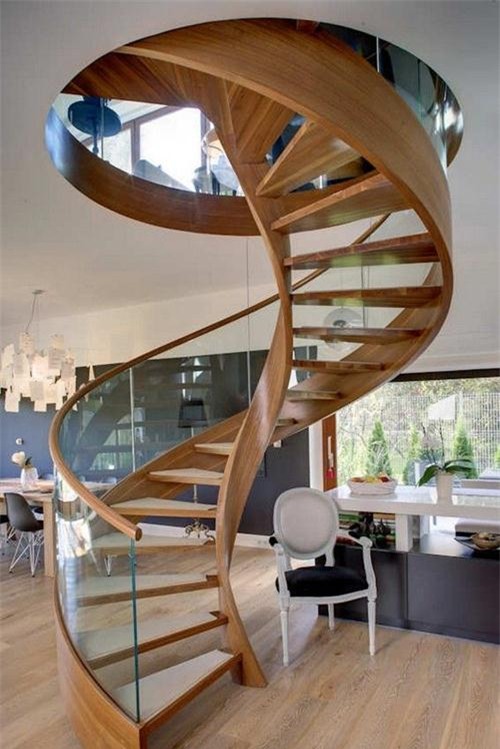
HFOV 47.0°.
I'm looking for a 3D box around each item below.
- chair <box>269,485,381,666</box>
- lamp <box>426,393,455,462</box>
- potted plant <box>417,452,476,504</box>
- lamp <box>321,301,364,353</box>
[{"bbox_3d":[0.474,1.342,3.926,0.696,1.036,0.695,9,-25,-15],"label":"chair"},{"bbox_3d":[1.836,0.497,5.459,0.290,0.630,0.453,-3,-3,17],"label":"lamp"},{"bbox_3d":[1.511,0.785,4.338,0.399,0.298,0.408,-1,-8,-1],"label":"potted plant"},{"bbox_3d":[0.670,-0.384,4.242,0.318,0.394,0.985,-2,-4,10],"label":"lamp"}]
